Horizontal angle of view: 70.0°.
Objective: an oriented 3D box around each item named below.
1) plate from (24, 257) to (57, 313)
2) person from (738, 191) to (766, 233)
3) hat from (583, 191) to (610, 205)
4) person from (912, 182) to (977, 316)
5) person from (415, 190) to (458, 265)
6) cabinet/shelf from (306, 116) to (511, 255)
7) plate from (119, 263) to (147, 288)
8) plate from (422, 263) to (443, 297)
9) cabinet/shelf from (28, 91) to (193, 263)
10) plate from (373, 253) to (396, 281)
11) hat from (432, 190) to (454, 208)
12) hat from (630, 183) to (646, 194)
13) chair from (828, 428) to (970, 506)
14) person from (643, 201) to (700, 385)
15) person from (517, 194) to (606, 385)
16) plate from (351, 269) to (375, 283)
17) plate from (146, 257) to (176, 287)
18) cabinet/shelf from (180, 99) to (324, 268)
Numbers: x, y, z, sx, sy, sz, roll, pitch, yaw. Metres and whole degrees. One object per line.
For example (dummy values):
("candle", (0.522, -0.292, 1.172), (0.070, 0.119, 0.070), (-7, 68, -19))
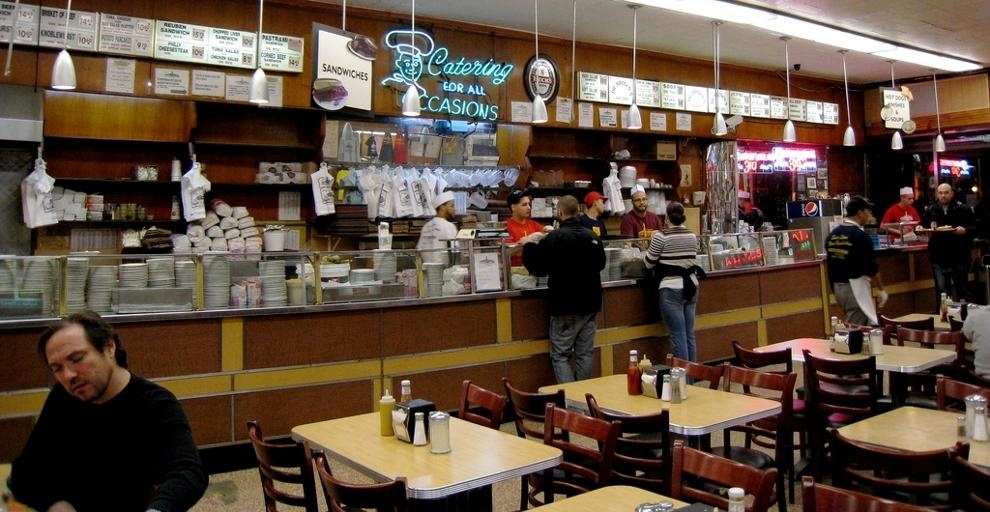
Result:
("plate", (-5.283, 0.346, 8.235), (0.381, 0.525, 0.064), (-3, 2, -3))
("person", (5.623, -1.008, 15.613), (0.457, 0.850, 1.025), (-2, 3, 21))
("hat", (1.643, -0.920, 11.107), (0.413, 0.176, 0.270), (-7, 7, -23))
("person", (8.196, -0.246, 12.896), (0.852, 2.141, 0.734), (-1, 3, 31))
("person", (-0.840, -0.435, 10.104), (0.560, 1.008, 1.564), (-3, 3, -6))
("cabinet/shelf", (-1.586, -1.140, 11.570), (2.869, 1.350, 0.869), (0, -6, -28))
("plate", (-4.348, 0.242, 8.484), (0.338, 0.238, 0.302), (0, 0, 19))
("plate", (-0.818, 0.309, 9.360), (0.276, 0.442, 0.037), (-4, 3, -24))
("cabinet/shelf", (-5.883, -1.191, 10.617), (3.024, 2.190, 0.868), (-3, 8, -18))
("plate", (-1.445, 0.133, 9.180), (0.407, 0.349, 0.371), (0, 3, 12))
("hat", (-0.780, -0.851, 10.552), (0.326, 0.159, 0.290), (-3, 4, 1))
("hat", (2.522, -1.195, 12.602), (0.391, 0.149, 0.465), (-1, -2, 3))
("chair", (3.910, 2.019, 6.835), (0.693, 0.830, 0.786), (-17, 18, -41))
("person", (2.645, 0.393, 10.306), (0.934, 2.327, 0.482), (-5, 3, -32))
("person", (0.964, 0.450, 9.664), (1.058, 2.499, 0.222), (-3, 3, 2))
("plate", (-1.717, 0.260, 9.079), (0.236, 0.110, 0.217), (1, 1, 21))
("plate", (-4.048, 0.193, 8.556), (0.377, 0.309, 0.370), (0, 0, 35))
("cabinet/shelf", (-3.889, -1.168, 11.014), (3.101, 3.006, 0.996), (1, -5, -25))
